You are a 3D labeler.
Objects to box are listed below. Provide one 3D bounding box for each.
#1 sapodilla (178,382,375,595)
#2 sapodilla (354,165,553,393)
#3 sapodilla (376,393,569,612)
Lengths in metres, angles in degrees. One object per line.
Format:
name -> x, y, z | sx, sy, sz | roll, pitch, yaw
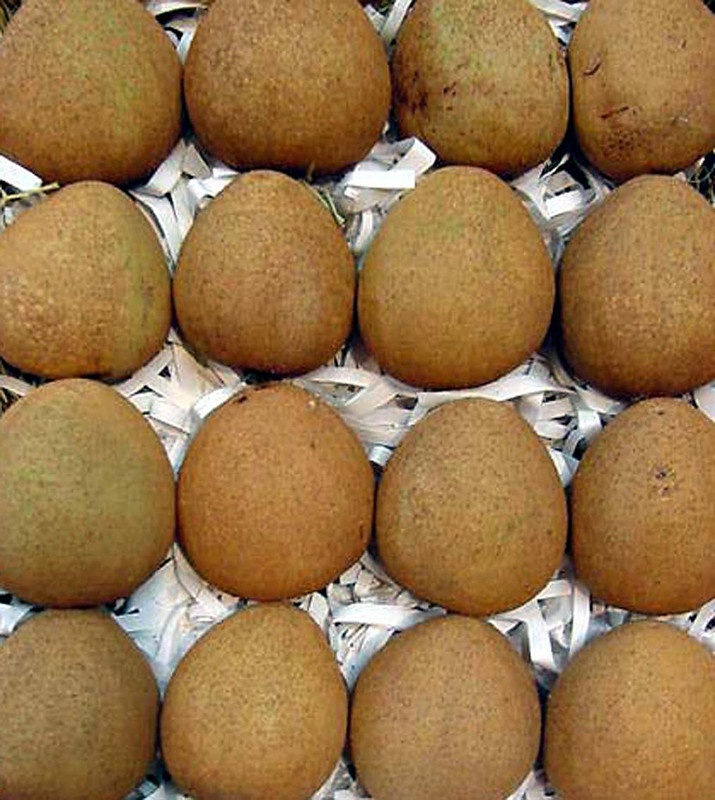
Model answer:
sapodilla -> -0.064, 0.077, 0.741 | 0.111, 0.094, 0.205 | 2, 84, -3
sapodilla -> 0.083, -0.065, 0.825 | 0.112, 0.099, 0.228 | 2, 80, -1
sapodilla -> 0.095, 0.090, 0.752 | 0.108, 0.095, 0.217 | 3, 84, 5
